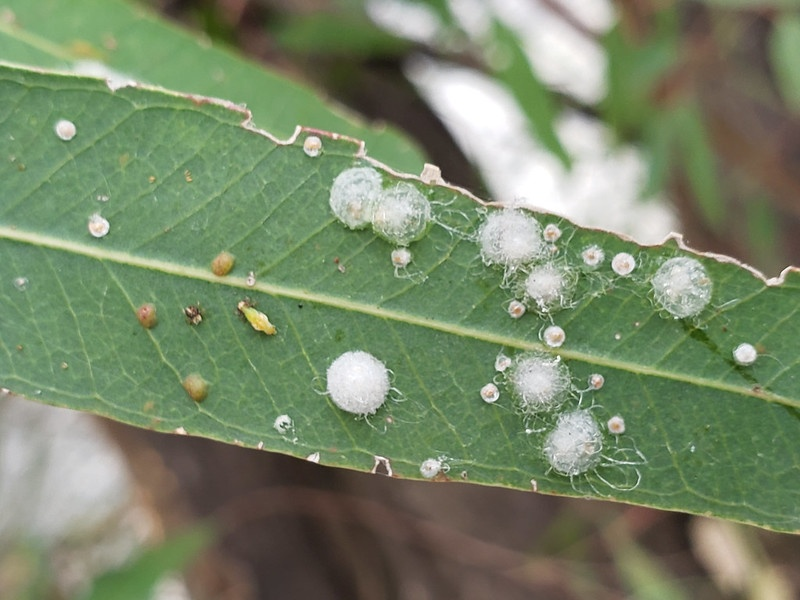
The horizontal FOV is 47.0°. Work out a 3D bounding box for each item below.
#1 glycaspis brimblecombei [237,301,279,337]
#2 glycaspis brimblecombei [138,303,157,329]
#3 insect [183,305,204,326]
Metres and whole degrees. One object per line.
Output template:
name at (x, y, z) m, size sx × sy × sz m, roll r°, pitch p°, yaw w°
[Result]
glycaspis brimblecombei at (-0.874, 0.120, 5.665) m, size 0.121 × 0.096 × 0.292 m, roll -40°, pitch 82°, yaw -5°
glycaspis brimblecombei at (-1.549, 0.101, 5.629) m, size 0.101 × 0.033 × 0.141 m, roll -12°, pitch 93°, yaw -2°
insect at (-1.270, 0.090, 5.635) m, size 0.086 × 0.044 × 0.130 m, roll -23°, pitch 90°, yaw -1°
